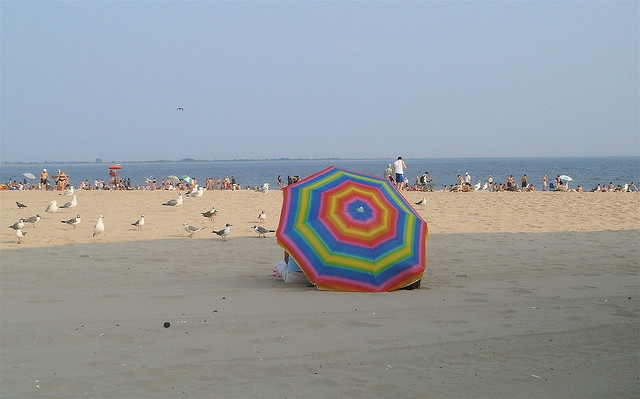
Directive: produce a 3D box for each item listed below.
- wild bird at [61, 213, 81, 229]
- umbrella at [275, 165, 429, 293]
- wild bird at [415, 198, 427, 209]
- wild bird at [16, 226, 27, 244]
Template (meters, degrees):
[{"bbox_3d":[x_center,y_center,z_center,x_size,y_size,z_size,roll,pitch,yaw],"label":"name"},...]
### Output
[{"bbox_3d":[-6.948,0.630,20.098,0.804,0.485,0.409,2,2,28],"label":"wild bird"},{"bbox_3d":[0.575,0.705,13.565,2.580,2.465,0.981,-29,-18,-33],"label":"umbrella"},{"bbox_3d":[3.874,0.155,27.494,0.284,0.392,0.573,7,11,37],"label":"wild bird"},{"bbox_3d":[-7.528,0.924,18.102,0.225,0.451,0.608,4,18,-13],"label":"wild bird"}]
